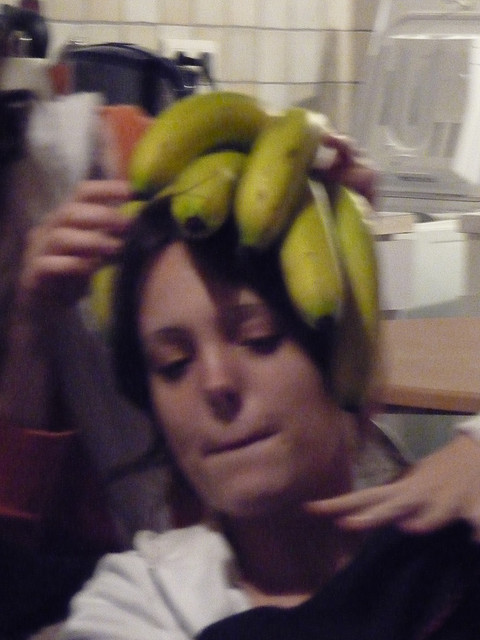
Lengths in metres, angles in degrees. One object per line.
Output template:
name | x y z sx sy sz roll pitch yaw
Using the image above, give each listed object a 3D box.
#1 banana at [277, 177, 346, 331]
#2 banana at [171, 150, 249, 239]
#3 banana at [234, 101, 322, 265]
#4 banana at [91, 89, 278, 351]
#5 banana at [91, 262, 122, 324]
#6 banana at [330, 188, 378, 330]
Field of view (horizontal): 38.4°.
banana | 0.062 -0.054 0.614 0.046 0.048 0.135 -5 94 6
banana | -0.028 -0.105 0.602 0.058 0.058 0.107 2 28 21
banana | 0.026 -0.127 0.611 0.051 0.046 0.146 21 84 37
banana | -0.061 -0.089 0.572 0.117 0.047 0.185 33 78 -23
banana | -0.115 -0.024 0.582 0.022 0.016 0.057 10 96 18
banana | 0.099 -0.053 0.593 0.038 0.036 0.115 -11 101 -27
